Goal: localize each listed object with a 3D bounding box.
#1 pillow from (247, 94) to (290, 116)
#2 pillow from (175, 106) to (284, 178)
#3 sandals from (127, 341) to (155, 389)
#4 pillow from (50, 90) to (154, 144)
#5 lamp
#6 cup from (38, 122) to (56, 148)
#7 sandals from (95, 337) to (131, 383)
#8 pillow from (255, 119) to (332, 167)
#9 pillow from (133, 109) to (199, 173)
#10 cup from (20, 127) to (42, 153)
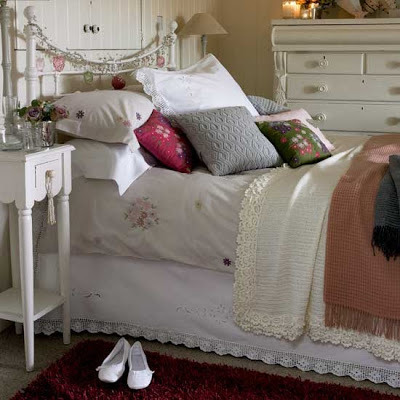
[{"bbox_3d":[0.422,-0.578,2.590,0.181,0.057,0.178,18,21,-23],"label":"pillow"},{"bbox_3d":[0.160,-0.248,1.879,0.365,0.341,0.117,-21,-6,-28],"label":"pillow"},{"bbox_3d":[-0.202,0.564,1.414,0.061,0.045,0.162,-2,15,-9],"label":"sandals"},{"bbox_3d":[-0.414,-0.357,1.758,0.284,0.094,0.308,16,34,9],"label":"pillow"},{"bbox_3d":[0.036,-1.327,3.501,0.347,0.402,0.373,6,18,10],"label":"lamp"},{"bbox_3d":[-0.533,-0.232,1.481,0.093,0.083,0.094,1,6,0],"label":"cup"},{"bbox_3d":[-0.297,0.535,1.420,0.066,0.053,0.141,2,23,14],"label":"sandals"},{"bbox_3d":[0.460,-0.237,1.994,0.253,0.084,0.280,-7,49,-35],"label":"pillow"},{"bbox_3d":[-0.178,-0.279,1.845,0.291,0.325,0.104,9,-29,-8],"label":"pillow"},{"bbox_3d":[-0.561,-0.204,1.384,0.056,0.090,0.053,-1,8,0],"label":"cup"}]
